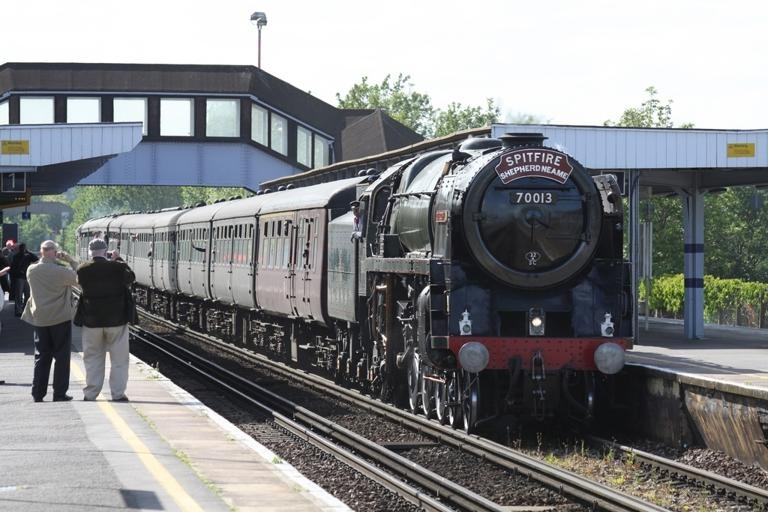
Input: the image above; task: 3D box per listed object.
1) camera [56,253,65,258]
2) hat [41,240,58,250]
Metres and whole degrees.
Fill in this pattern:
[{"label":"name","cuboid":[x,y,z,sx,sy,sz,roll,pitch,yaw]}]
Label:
[{"label":"camera","cuboid":[-5.094,-0.014,12.518,0.116,0.086,0.114,2,-5,-20]},{"label":"hat","cuboid":[-5.223,-0.163,12.354,0.261,0.179,0.336,0,-1,-14]}]
